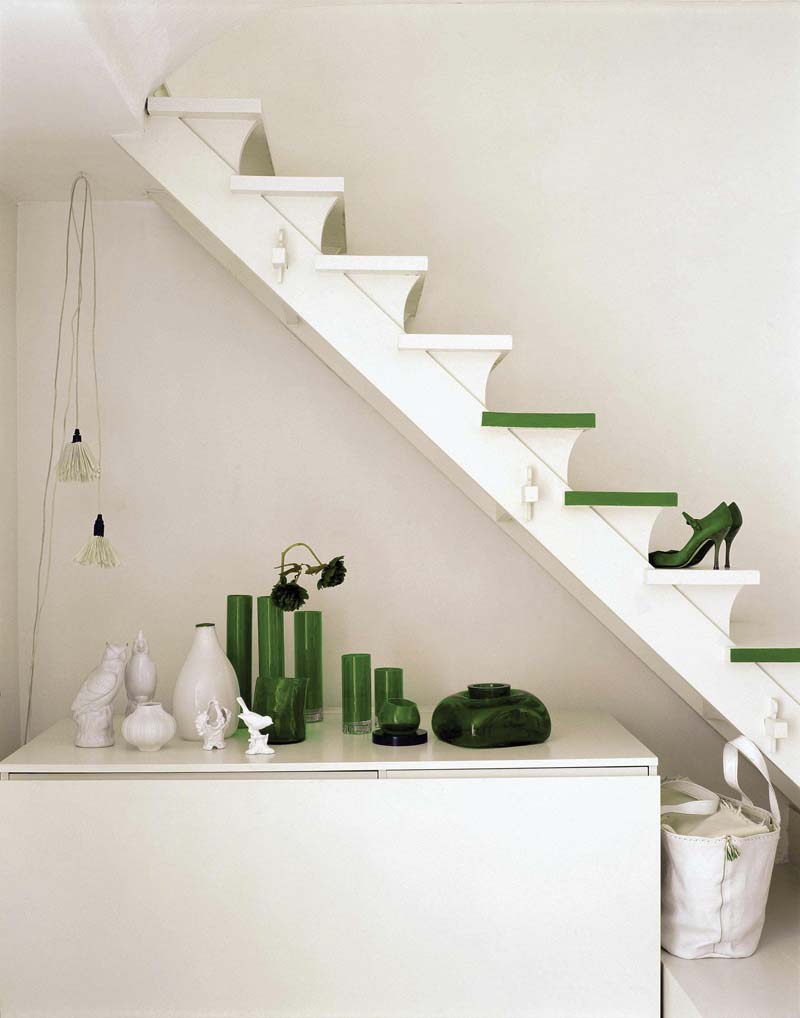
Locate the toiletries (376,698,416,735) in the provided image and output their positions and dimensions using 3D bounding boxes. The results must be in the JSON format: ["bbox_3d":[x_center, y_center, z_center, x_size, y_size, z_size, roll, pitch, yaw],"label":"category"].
[{"bbox_3d":[-0.007,0.450,2.414,0.058,0.054,0.066,0,3,2],"label":"toiletries"}]

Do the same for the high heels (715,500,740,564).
[{"bbox_3d":[0.748,0.049,2.533,0.040,0.164,0.057,-2,-1,31],"label":"high heels"}]

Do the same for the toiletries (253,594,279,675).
[{"bbox_3d":[-0.312,0.290,2.568,0.060,0.219,0.070,-3,23,-9],"label":"toiletries"}]

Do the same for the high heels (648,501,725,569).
[{"bbox_3d":[0.612,0.063,2.444,0.168,0.158,0.167,5,-5,-8],"label":"high heels"}]

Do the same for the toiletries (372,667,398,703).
[{"bbox_3d":[-0.032,0.394,2.494,0.055,0.082,0.064,1,1,5],"label":"toiletries"}]
